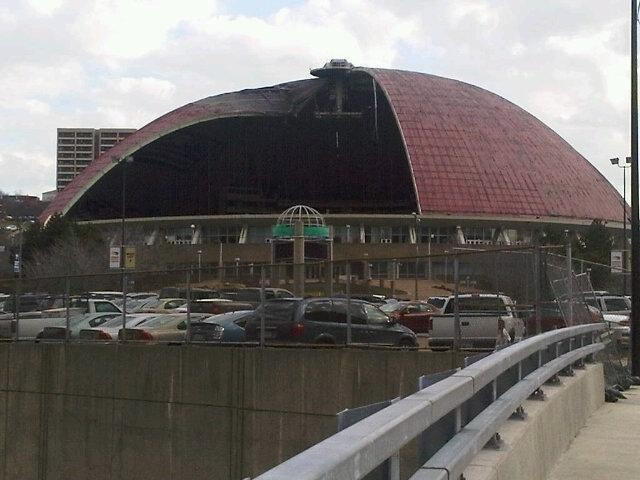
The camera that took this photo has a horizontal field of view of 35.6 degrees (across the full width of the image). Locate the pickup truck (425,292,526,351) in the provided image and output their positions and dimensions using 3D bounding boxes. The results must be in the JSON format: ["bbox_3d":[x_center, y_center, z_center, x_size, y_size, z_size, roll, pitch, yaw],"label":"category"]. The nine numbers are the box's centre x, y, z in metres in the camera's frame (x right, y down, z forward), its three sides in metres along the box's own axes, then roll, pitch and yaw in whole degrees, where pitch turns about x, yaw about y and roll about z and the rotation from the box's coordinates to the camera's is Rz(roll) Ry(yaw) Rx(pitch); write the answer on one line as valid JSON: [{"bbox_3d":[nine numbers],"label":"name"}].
[{"bbox_3d":[3.483,1.831,22.700,1.113,0.842,1.848,-1,0,24],"label":"pickup truck"}]

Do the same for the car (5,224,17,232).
[{"bbox_3d":[-54.266,-2.140,175.898,2.314,1.163,1.481,1,-1,5],"label":"car"}]
